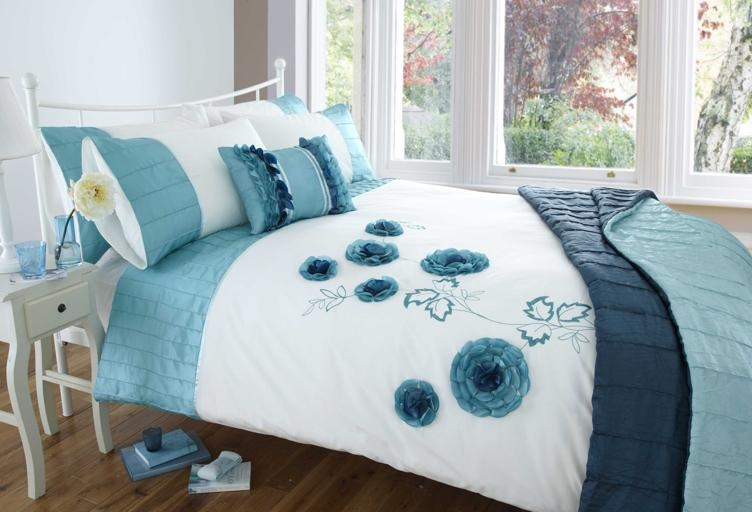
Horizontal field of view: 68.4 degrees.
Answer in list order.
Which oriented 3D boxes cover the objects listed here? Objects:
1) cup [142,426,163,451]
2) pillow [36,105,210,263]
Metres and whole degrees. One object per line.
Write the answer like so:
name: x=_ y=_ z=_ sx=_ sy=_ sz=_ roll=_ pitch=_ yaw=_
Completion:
cup: x=-0.911 y=0.750 z=2.311 sx=0.082 sy=0.095 sz=0.093 roll=-1 pitch=13 yaw=-7
pillow: x=-1.205 y=-0.287 z=2.350 sx=0.163 sy=0.547 sz=0.483 roll=-9 pitch=-4 yaw=32
